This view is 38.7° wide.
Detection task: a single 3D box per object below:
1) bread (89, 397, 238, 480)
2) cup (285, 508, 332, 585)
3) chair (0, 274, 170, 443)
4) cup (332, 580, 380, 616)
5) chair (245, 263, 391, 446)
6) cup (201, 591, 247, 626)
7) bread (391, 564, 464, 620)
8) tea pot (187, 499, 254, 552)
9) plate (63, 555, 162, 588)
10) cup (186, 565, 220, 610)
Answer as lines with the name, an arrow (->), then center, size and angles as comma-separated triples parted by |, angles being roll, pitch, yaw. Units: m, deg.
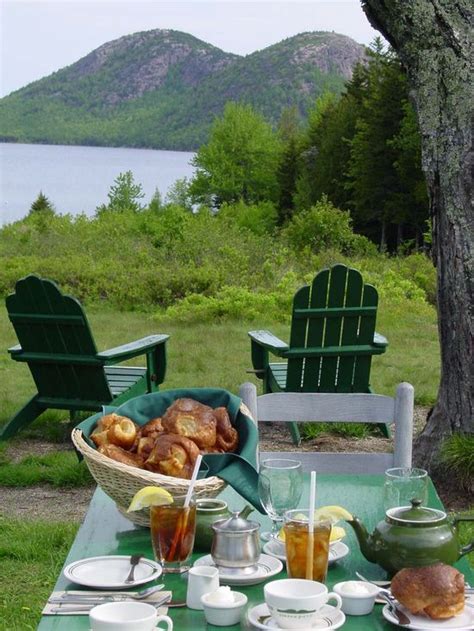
bread -> -0.107, 0.193, 1.210 | 0.148, 0.055, 0.165 | 10, 8, 17
cup -> 0.105, 0.327, 1.008 | 0.067, 0.097, 0.161 | -2, 11, 4
chair -> -0.937, 0.216, 4.308 | 0.973, 1.165, 1.071 | 8, 13, 30
cup -> 0.160, 0.380, 0.907 | 0.047, 0.029, 0.046 | 1, -2, 0
chair -> 0.428, 0.163, 4.094 | 1.030, 1.265, 0.975 | -1, 11, -9
cup -> -0.017, 0.380, 0.870 | 0.046, 0.022, 0.047 | 2, -5, 0
bread -> 0.251, 0.346, 0.882 | 0.075, 0.047, 0.072 | 3, -7, -29
tea pot -> -0.037, 0.337, 1.110 | 0.119, 0.080, 0.073 | 8, -9, -42
plate -> -0.187, 0.385, 1.013 | 0.146, 0.026, 0.101 | -1, 11, 7
cup -> -0.046, 0.365, 0.912 | 0.038, 0.054, 0.061 | 0, 3, 0
